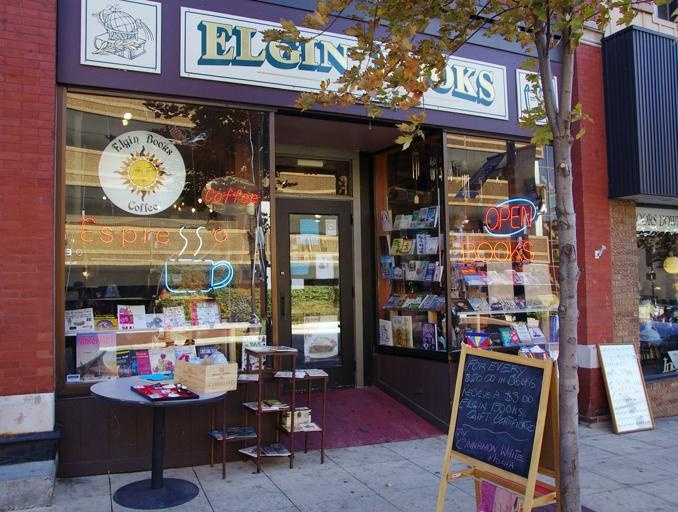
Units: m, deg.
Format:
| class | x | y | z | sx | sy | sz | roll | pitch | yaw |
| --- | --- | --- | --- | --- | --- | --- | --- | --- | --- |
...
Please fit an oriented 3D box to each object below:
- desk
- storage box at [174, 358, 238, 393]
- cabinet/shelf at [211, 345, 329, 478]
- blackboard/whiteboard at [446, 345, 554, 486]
| class | x | y | z | sx | sy | sz | roll | pitch | yaw |
| --- | --- | --- | --- | --- | --- | --- | --- | --- | --- |
| desk | -1.732 | 1.689 | 5.208 | 1.202 | 1.000 | 0.788 | 4 | 4 | 28 |
| storage box | -1.260 | 1.128 | 5.432 | 0.422 | 0.222 | 0.563 | 5 | -6 | -38 |
| cabinet/shelf | -0.761 | 1.684 | 6.031 | 1.206 | 1.286 | 0.422 | 2 | -1 | -30 |
| blackboard/whiteboard | 1.228 | 1.252 | 4.481 | 0.744 | 0.940 | 0.535 | 8 | -11 | 19 |
